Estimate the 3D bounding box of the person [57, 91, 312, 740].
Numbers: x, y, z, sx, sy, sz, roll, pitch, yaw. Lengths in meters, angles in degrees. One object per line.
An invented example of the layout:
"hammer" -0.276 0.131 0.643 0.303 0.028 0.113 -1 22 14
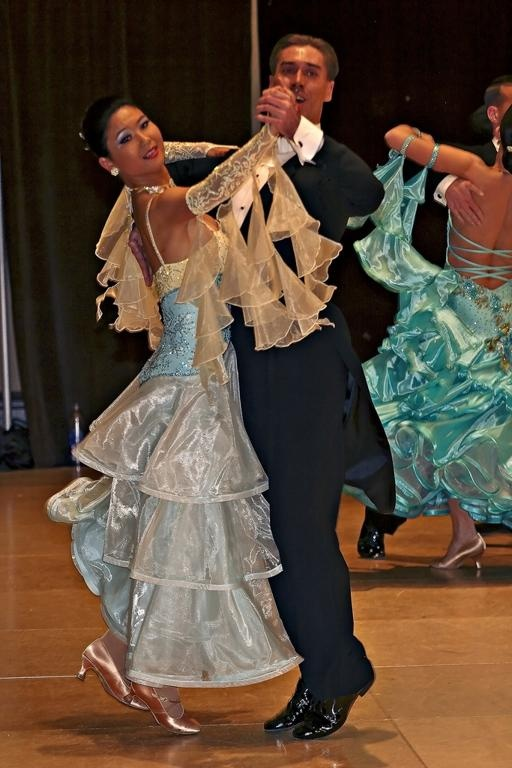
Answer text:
"person" -0.158 0.058 1.573 0.399 0.914 0.658 -1 -1 -38
